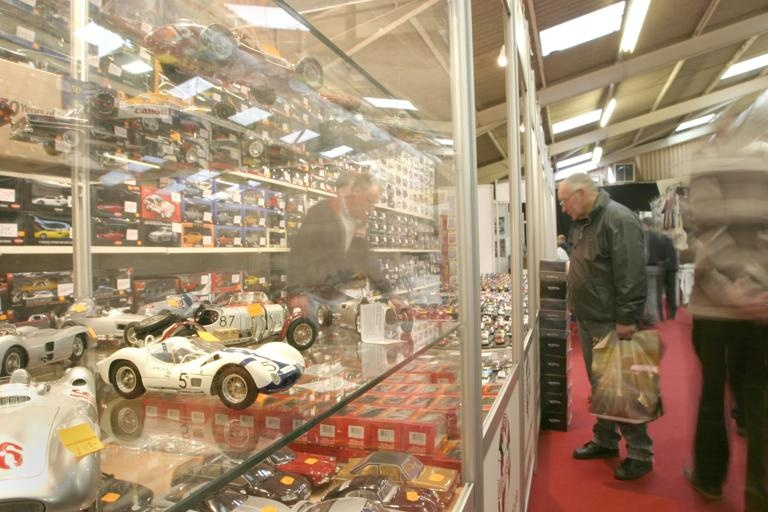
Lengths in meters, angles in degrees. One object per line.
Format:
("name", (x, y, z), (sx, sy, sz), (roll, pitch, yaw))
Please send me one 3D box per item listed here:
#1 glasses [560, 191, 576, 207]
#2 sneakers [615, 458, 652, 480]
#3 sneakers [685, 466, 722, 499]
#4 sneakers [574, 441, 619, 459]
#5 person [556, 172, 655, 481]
("glasses", (1.085, -0.343, 2.999), (0.078, 0.071, 0.058), (2, -11, -37))
("sneakers", (1.337, 1.128, 2.751), (0.228, 0.089, 0.093), (-1, -3, -16))
("sneakers", (0.955, 0.679, 1.515), (0.043, 0.130, 0.050), (-39, 20, 37))
("sneakers", (1.261, 1.156, 3.066), (0.283, 0.111, 0.101), (2, -3, 8))
("person", (1.235, 0.346, 2.766), (0.403, 1.233, 0.724), (-2, -1, 10))
